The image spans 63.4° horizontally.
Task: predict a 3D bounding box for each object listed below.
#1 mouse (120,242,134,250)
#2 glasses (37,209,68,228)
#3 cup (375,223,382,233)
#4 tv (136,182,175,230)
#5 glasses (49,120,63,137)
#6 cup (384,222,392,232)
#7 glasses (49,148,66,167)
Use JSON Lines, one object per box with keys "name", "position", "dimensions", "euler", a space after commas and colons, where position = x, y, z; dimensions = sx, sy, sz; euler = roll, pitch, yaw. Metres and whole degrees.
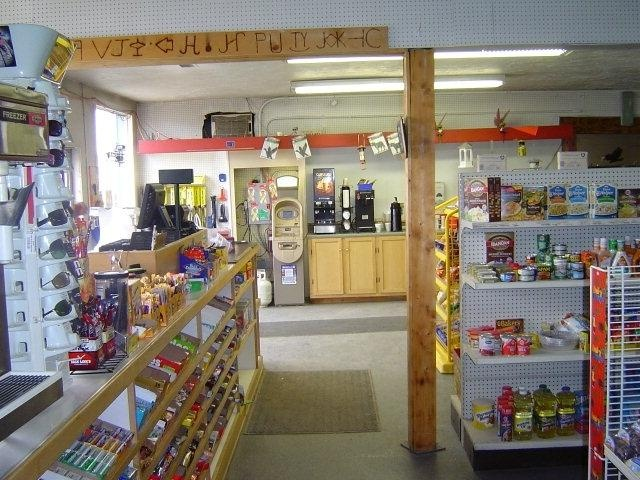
{"name": "mouse", "position": [-1.320, 0.047, 3.547], "dimensions": [0.063, 0.069, 0.017], "euler": [-3, -30, 1]}
{"name": "glasses", "position": [-1.080, -0.086, 2.112], "dimensions": [0.083, 0.033, 0.063], "euler": [-7, -3, 14]}
{"name": "cup", "position": [1.007, -0.196, 8.717], "dimensions": [0.130, 0.145, 0.129], "euler": [-1, 4, 0]}
{"name": "tv", "position": [-1.272, -0.265, 4.057], "dimensions": [0.197, 0.357, 0.433], "euler": [-1, 8, 6]}
{"name": "glasses", "position": [-1.039, -0.441, 2.038], "dimensions": [0.048, 0.062, 0.059], "euler": [-5, -6, -36]}
{"name": "cup", "position": [1.155, -0.228, 8.899], "dimensions": [0.118, 0.136, 0.119], "euler": [1, 5, 0]}
{"name": "glasses", "position": [-1.042, -0.326, 2.061], "dimensions": [0.061, 0.070, 0.049], "euler": [-1, 14, -11]}
